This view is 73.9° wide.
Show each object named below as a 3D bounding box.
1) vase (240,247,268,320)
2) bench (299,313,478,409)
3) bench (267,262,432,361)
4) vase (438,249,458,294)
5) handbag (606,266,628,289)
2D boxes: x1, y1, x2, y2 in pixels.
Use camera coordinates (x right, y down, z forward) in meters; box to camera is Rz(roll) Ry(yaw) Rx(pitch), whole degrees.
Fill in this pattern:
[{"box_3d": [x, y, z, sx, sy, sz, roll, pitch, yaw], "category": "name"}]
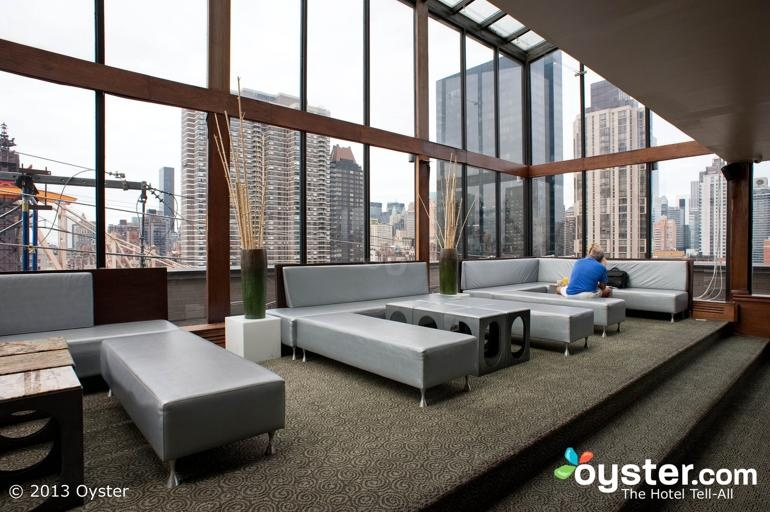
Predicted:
[{"box_3d": [-1.388, 0.288, 5.467, 0.254, 0.751, 0.118, -2, 3, -19], "category": "vase"}, {"box_3d": [0.020, 0.953, 4.937, 1.640, 0.620, 0.618, 2, 4, 39], "category": "bench"}, {"box_3d": [-0.201, 0.598, 6.395, 2.226, 0.926, 0.645, -1, 17, -28], "category": "bench"}, {"box_3d": [0.872, 0.199, 6.913, 0.230, 0.613, 0.177, -1, 3, 0], "category": "vase"}, {"box_3d": [3.569, 0.338, 7.809, 0.297, 0.263, 0.113, 6, 9, 35], "category": "handbag"}]
